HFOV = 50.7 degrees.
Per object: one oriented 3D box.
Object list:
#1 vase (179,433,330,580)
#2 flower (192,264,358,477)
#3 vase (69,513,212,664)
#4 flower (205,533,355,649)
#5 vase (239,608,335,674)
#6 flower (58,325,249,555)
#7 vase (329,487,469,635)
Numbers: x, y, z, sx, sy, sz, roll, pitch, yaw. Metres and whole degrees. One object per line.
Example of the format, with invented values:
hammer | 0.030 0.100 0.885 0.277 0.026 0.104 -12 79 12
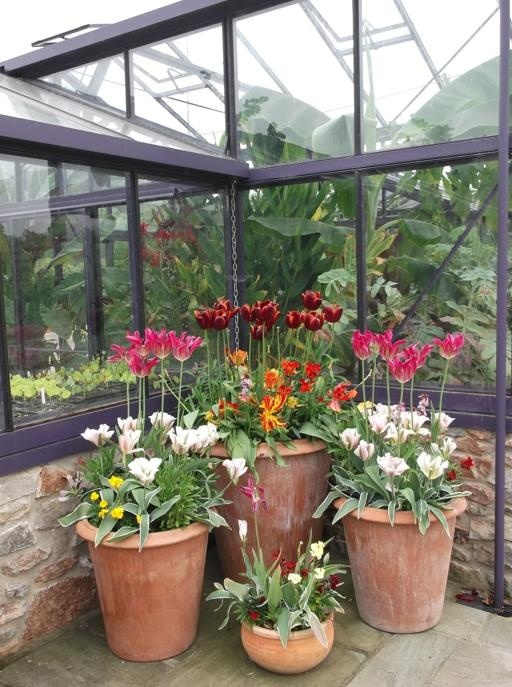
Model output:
vase | 0.035 0.715 2.481 0.595 0.496 0.595 0 2 4
flower | 0.098 0.059 2.460 0.806 0.765 0.795 -5 6 -37
vase | -0.380 0.825 1.977 0.509 0.421 0.490 -1 9 -11
flower | 0.084 0.852 1.867 0.492 0.293 0.505 -6 -33 2
vase | 0.094 1.030 1.821 0.265 0.136 0.254 14 -21 -30
flower | -0.293 0.309 2.090 0.816 0.766 0.789 0 -1 3
vase | 0.492 0.784 2.123 0.530 0.412 0.512 -3 10 -5
